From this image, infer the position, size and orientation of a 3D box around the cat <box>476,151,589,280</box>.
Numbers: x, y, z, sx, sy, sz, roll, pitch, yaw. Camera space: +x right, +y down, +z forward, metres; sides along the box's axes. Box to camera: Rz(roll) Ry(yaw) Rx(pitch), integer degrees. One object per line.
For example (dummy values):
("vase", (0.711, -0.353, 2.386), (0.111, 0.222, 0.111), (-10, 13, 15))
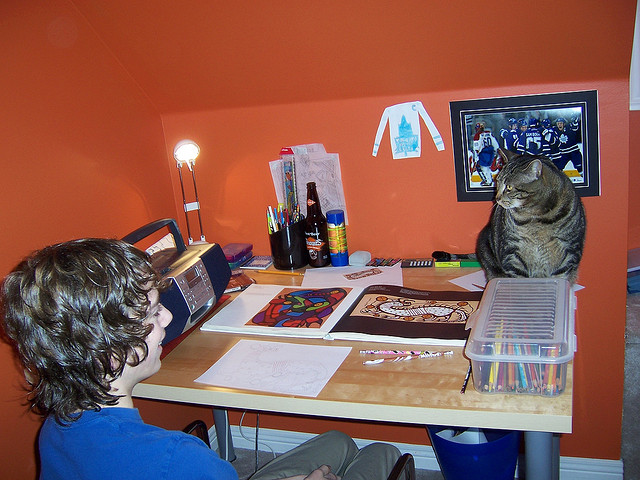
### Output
("cat", (0.636, -0.125, 1.587), (0.347, 0.452, 0.403), (10, 26, 38))

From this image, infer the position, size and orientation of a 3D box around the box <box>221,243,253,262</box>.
("box", (-0.328, 0.050, 1.837), (0.106, 0.040, 0.128), (-7, 13, 5))

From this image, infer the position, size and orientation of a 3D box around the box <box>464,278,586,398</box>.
("box", (0.497, 0.218, 1.152), (0.248, 0.122, 0.387), (-2, 19, 30))
